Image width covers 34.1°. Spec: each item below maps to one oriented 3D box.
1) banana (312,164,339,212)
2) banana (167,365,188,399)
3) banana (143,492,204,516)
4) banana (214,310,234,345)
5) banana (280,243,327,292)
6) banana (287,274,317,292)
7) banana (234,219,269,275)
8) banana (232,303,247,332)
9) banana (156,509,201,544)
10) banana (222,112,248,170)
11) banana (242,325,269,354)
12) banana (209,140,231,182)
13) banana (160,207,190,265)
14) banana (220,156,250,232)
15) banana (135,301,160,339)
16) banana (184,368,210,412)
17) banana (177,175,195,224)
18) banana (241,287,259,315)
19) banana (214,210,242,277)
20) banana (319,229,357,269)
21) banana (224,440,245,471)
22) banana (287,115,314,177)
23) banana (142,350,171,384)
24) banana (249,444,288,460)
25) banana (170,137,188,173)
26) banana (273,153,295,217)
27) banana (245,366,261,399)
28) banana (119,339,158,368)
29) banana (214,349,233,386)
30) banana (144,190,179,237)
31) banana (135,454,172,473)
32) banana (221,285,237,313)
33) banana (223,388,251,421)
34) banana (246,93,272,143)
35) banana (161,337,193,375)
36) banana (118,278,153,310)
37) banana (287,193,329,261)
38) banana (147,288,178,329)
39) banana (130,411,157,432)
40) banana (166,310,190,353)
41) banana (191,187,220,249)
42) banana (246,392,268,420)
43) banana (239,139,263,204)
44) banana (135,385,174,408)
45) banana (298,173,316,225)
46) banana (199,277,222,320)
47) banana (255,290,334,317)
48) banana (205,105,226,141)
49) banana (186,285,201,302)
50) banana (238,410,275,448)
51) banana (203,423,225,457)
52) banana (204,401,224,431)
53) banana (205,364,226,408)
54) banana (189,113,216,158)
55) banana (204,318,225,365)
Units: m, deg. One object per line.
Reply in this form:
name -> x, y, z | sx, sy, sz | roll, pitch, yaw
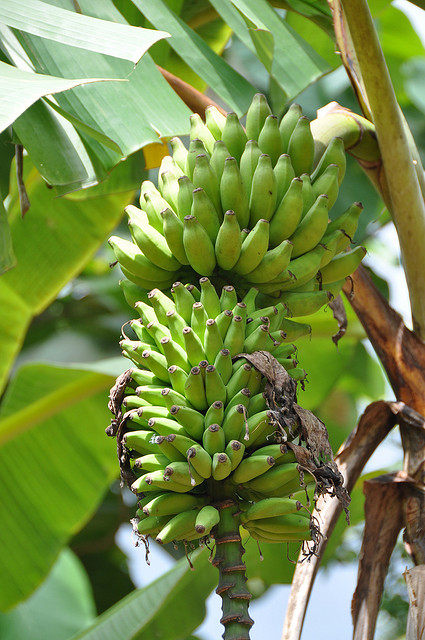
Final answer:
banana -> 0.346, -0.395, 2.083 | 0.082, 0.141, 0.048 | 24, 11, 13
banana -> -0.085, 0.158, 1.769 | 0.033, 0.031, 0.096 | -8, -43, 9
banana -> -0.098, 0.463, 1.739 | 0.187, 0.045, 0.060 | -2, -10, -28
banana -> 0.031, 0.024, 1.806 | 0.032, 0.030, 0.101 | 7, -57, -7
banana -> 0.302, -0.168, 2.026 | 0.209, 0.058, 0.073 | -39, 29, -29
banana -> 0.273, -0.105, 2.053 | 0.053, 0.016, 0.047 | -31, -21, 6
banana -> 0.113, -0.199, 1.883 | 0.054, 0.063, 0.186 | 21, -54, -3
banana -> 0.068, -0.007, 1.803 | 0.023, 0.026, 0.079 | -10, -52, -22
banana -> -0.084, 0.514, 1.714 | 0.119, 0.063, 0.107 | -10, -9, -4
banana -> 0.069, -0.557, 2.127 | 0.066, 0.058, 0.187 | -15, -45, -4
banana -> 0.114, 0.053, 1.810 | 0.042, 0.065, 0.087 | -3, -12, -43
banana -> 0.026, -0.476, 2.037 | 0.045, 0.134, 0.046 | 13, -24, -22
banana -> -0.118, -0.237, 1.925 | 0.050, 0.168, 0.055 | -36, 38, -27
banana -> 0.066, -0.357, 1.979 | 0.068, 0.062, 0.210 | -5, -46, 2
banana -> -0.184, -0.013, 1.966 | 0.043, 0.122, 0.043 | -18, -16, -3
banana -> -0.040, 0.178, 1.747 | 0.041, 0.039, 0.127 | -20, -44, -16
banana -> -0.073, -0.340, 1.960 | 0.045, 0.131, 0.045 | 1, 7, -10
banana -> 0.107, -0.054, 1.927 | 0.028, 0.090, 0.029 | 44, -33, -23
banana -> 0.050, -0.212, 1.910 | 0.055, 0.178, 0.058 | -27, 43, -31
banana -> 0.365, -0.207, 2.028 | 0.046, 0.041, 0.128 | -7, 16, 28
banana -> 0.053, 0.329, 1.675 | 0.032, 0.025, 0.086 | 10, -26, 11
banana -> 0.267, -0.517, 2.057 | 0.059, 0.184, 0.056 | -1, 22, 8
banana -> -0.137, 0.125, 1.858 | 0.039, 0.039, 0.118 | -33, -50, 6
banana -> 0.148, 0.324, 1.713 | 0.127, 0.032, 0.041 | -9, -48, 25
banana -> -0.099, -0.519, 2.203 | 0.040, 0.120, 0.038 | -11, 13, 15
banana -> 0.211, -0.395, 2.022 | 0.050, 0.167, 0.051 | 13, -12, -33
banana -> 0.108, 0.162, 1.793 | 0.029, 0.032, 0.099 | 4, -46, -8
banana -> -0.207, 0.091, 1.920 | 0.124, 0.033, 0.045 | 20, -14, 46
banana -> 0.028, 0.118, 1.764 | 0.033, 0.033, 0.102 | -8, -40, -6
banana -> -0.167, -0.319, 2.071 | 0.056, 0.168, 0.062 | -41, -9, 19
banana -> -0.151, 0.361, 1.750 | 0.118, 0.041, 0.036 | -13, -37, 30
banana -> 0.046, -0.057, 1.882 | 0.028, 0.084, 0.031 | 7, -9, 4
banana -> 0.057, 0.219, 1.778 | 0.038, 0.040, 0.117 | 15, -54, -40
banana -> 0.147, -0.625, 2.135 | 0.054, 0.171, 0.060 | -3, -15, 25
banana -> -0.092, 0.097, 1.799 | 0.039, 0.038, 0.119 | -24, -42, 7
banana -> -0.209, -0.085, 2.198 | 0.069, 0.052, 0.183 | 11, -11, 40
banana -> 0.284, -0.257, 2.019 | 0.065, 0.234, 0.084 | -8, 37, -47
banana -> -0.140, -0.041, 1.879 | 0.047, 0.051, 0.148 | -24, -56, 9
banana -> -0.190, 0.261, 1.815 | 0.097, 0.034, 0.025 | 34, -79, -31
banana -> -0.080, 0.037, 1.857 | 0.040, 0.119, 0.035 | -13, 23, 25
banana -> -0.011, -0.282, 1.966 | 0.062, 0.189, 0.056 | -12, 29, 4
banana -> 0.107, 0.228, 1.797 | 0.030, 0.035, 0.103 | 27, -49, -20
banana -> 0.110, -0.440, 2.070 | 0.061, 0.185, 0.055 | 12, 5, 43
banana -> -0.154, 0.191, 1.818 | 0.142, 0.049, 0.041 | -5, -8, 41
banana -> 0.269, -0.359, 2.026 | 0.042, 0.132, 0.049 | -5, -3, -8
banana -> 0.009, -0.054, 1.892 | 0.044, 0.123, 0.041 | -15, 18, 12
banana -> 0.227, -0.050, 1.987 | 0.210, 0.069, 0.048 | -3, -52, 27
banana -> 0.003, -0.634, 2.223 | 0.046, 0.151, 0.055 | -2, -44, -9
banana -> -0.049, -0.076, 1.944 | 0.019, 0.025, 0.072 | -14, -46, 32
banana -> 0.112, 0.264, 1.693 | 0.047, 0.047, 0.141 | 18, -43, -28
banana -> 0.000, 0.288, 1.688 | 0.055, 0.080, 0.037 | 3, 30, 5
banana -> 0.004, 0.232, 1.702 | 0.030, 0.029, 0.087 | 7, -36, -7
banana -> 0.010, 0.165, 1.730 | 0.038, 0.033, 0.115 | -17, -43, -11
banana -> -0.030, -0.584, 2.163 | 0.056, 0.057, 0.172 | -12, -57, 9
banana -> 0.006, 0.056, 1.777 | 0.042, 0.038, 0.131 | -3, -48, -2
